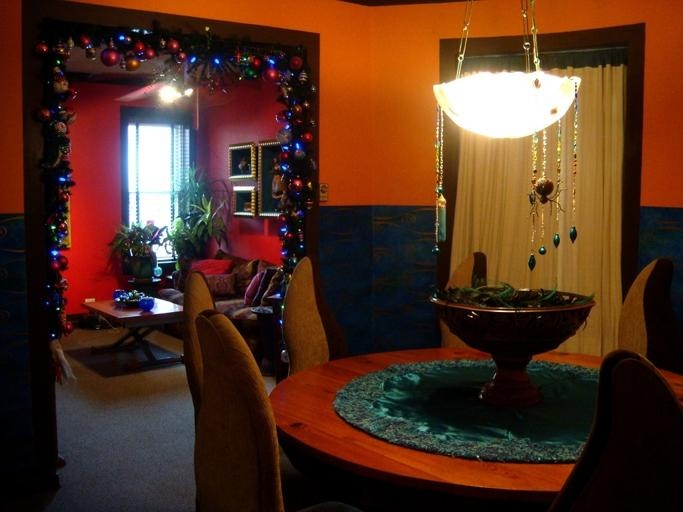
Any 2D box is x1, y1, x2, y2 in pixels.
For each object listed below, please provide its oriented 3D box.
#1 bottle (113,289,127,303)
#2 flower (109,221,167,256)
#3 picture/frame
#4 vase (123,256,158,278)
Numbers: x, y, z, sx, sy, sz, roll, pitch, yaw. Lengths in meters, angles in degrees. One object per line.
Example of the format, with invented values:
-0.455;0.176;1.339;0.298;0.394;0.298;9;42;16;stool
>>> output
-2.458;0.443;6.246;0.114;0.157;0.153;4;18;17;bottle
-2.745;-0.226;7.554;0.543;0.347;0.547;-1;4;12;flower
-1.129;-0.951;7.079;0.250;0.944;1.366;-5;10;-27;picture/frame
-2.671;0.129;7.459;0.369;0.284;0.381;2;-3;-45;vase
